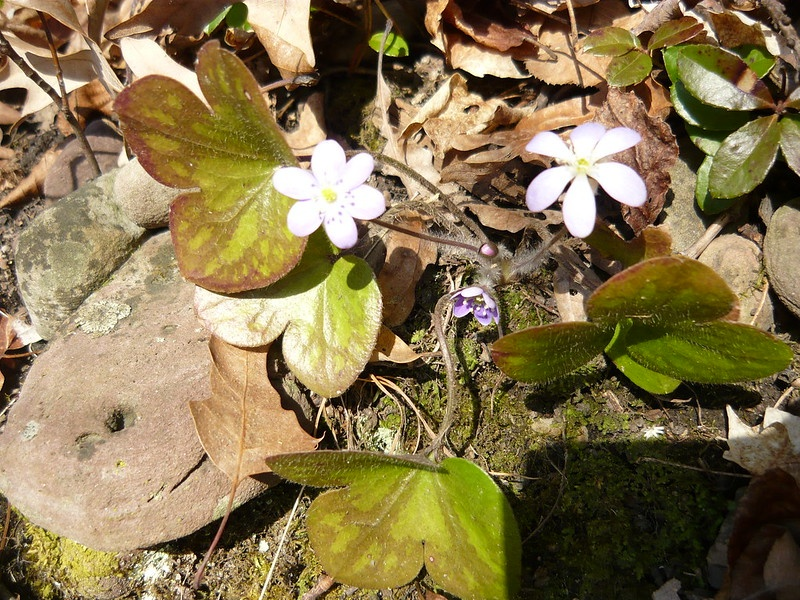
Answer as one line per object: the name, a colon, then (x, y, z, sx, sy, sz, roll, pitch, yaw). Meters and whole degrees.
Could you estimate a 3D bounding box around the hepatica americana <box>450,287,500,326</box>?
hepatica americana: (0.256, 0.035, 2.505, 0.123, 0.148, 0.078, 20, 47, 11)

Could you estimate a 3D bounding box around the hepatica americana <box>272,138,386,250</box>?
hepatica americana: (-0.263, -0.343, 2.357, 0.369, 0.411, 0.082, -29, 96, -11)
